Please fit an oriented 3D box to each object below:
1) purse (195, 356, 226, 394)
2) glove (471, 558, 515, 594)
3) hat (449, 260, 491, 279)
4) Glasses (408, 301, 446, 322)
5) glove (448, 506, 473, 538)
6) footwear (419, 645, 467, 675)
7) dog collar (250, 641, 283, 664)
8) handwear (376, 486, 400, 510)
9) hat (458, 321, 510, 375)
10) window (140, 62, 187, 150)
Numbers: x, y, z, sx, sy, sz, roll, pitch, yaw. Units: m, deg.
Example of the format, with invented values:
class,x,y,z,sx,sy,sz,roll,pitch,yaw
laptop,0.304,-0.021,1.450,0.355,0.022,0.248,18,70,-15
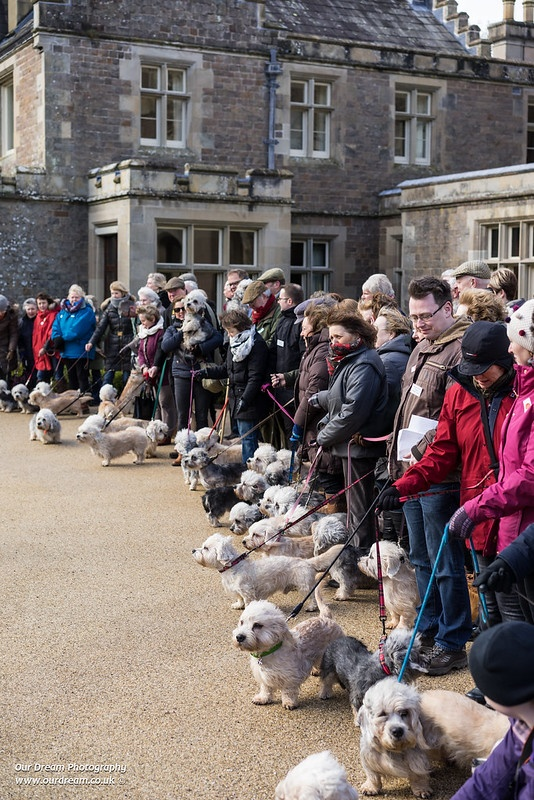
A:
class,x,y,z,sx,sy,sz,roll,pitch,yaw
purse,-0.555,-0.245,11.354,0.154,0.286,0.272,3,33,41
glove,0.929,0.725,4.757,0.136,0.149,0.116,-6,10,-22
hat,1.450,-0.951,8.231,0.216,0.107,0.151,11,-1,14
Glasses,0.878,-0.476,6.381,0.130,0.039,0.128,-29,21,-34
glove,0.892,0.573,5.324,0.069,0.142,0.109,16,16,22
footwear,0.939,1.365,6.053,0.202,0.119,0.218,-1,10,10
dog collar,0.003,1.232,5.618,0.147,0.133,0.115,-2,9,4
handwear,0.628,0.506,5.860,0.099,0.127,0.043,-13,-38,41
hat,1.017,-0.240,5.509,0.182,0.151,0.281,4,34,46
window,-1.769,-5.023,19.976,0.907,1.369,0.400,-9,11,-33
